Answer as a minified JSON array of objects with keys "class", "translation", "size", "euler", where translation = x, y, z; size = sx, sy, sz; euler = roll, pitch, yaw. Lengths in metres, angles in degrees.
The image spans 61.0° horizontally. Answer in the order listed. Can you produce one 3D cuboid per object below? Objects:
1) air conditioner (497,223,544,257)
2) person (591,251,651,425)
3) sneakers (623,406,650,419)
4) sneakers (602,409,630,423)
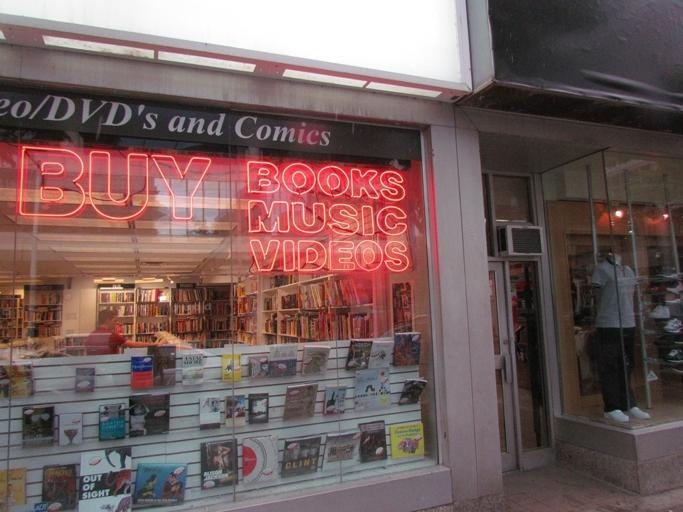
[{"class":"air conditioner","translation":[2.017,-0.193,6.613],"size":[0.518,0.386,0.256],"euler":[0,-7,-31]},{"class":"person","translation":[2.959,0.842,6.206],"size":[0.482,1.811,0.271],"euler":[-7,-7,18]},{"class":"sneakers","translation":[3.106,1.648,6.071],"size":[0.291,0.085,0.122],"euler":[0,-3,2]},{"class":"sneakers","translation":[2.895,1.686,6.088],"size":[0.088,0.064,0.213],"euler":[1,-9,-26]}]
